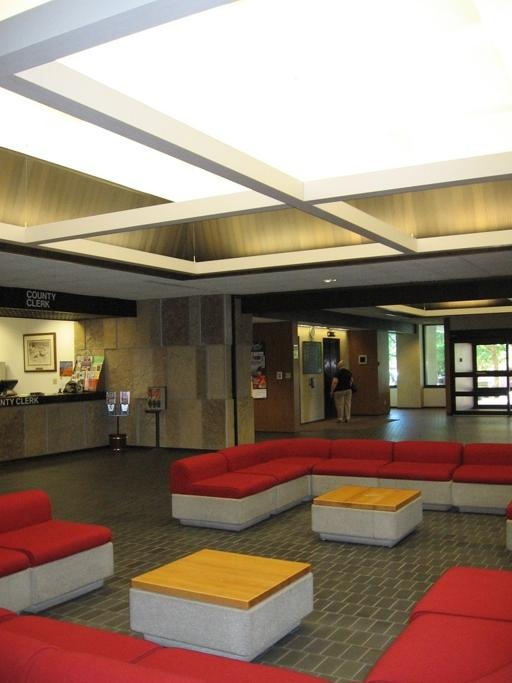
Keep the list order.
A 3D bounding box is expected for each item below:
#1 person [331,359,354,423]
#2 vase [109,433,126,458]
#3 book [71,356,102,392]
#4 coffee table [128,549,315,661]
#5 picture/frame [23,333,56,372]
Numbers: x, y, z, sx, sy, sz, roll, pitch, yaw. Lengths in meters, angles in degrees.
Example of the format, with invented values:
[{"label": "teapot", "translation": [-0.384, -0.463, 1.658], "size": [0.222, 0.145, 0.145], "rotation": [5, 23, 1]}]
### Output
[{"label": "person", "translation": [2.575, 1.496, 15.895], "size": [0.638, 1.807, 0.997], "rotation": [-1, -4, 8]}, {"label": "vase", "translation": [-3.093, 2.236, 11.790], "size": [0.352, 0.288, 0.344], "rotation": [1, -5, 2]}, {"label": "book", "translation": [-3.938, 0.770, 12.382], "size": [0.802, 0.798, 0.035], "rotation": [-7, -25, 20]}, {"label": "coffee table", "translation": [-0.205, 1.593, 3.308], "size": [0.925, 0.411, 0.912], "rotation": [-3, -5, 30]}, {"label": "picture/frame", "translation": [-6.019, 0.276, 14.804], "size": [1.063, 1.150, 0.078], "rotation": [-3, 0, 18]}]
